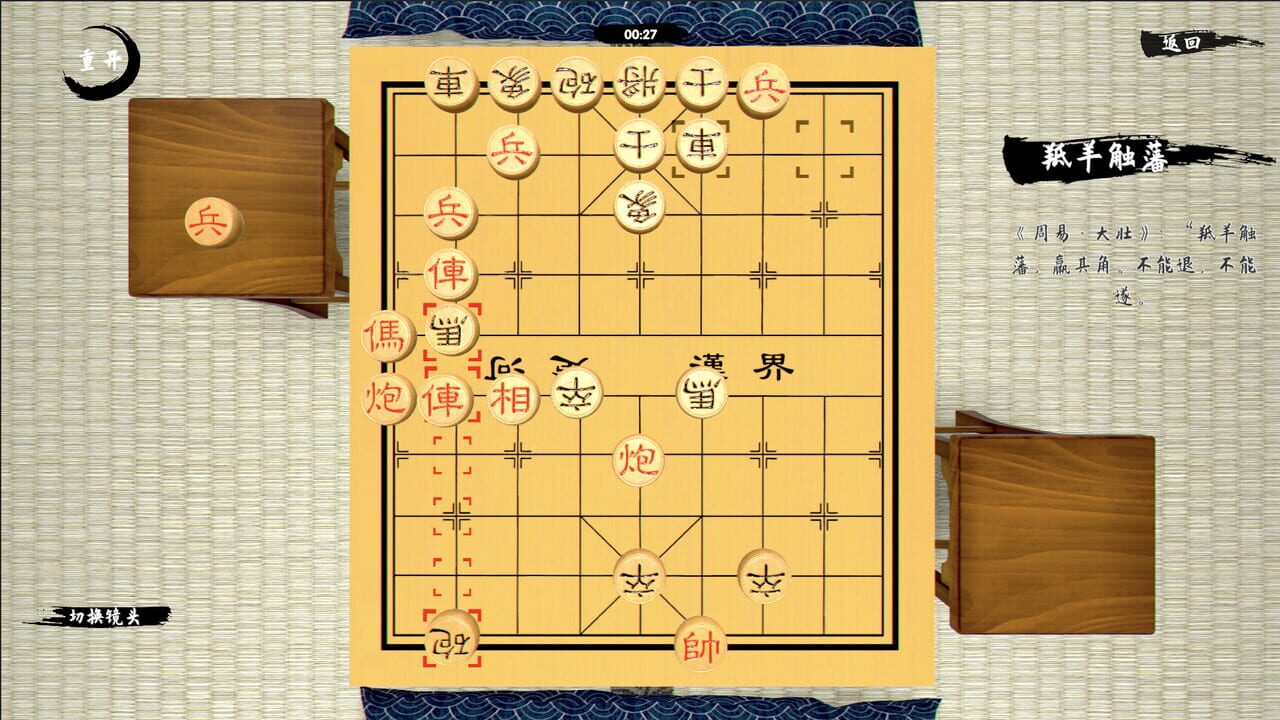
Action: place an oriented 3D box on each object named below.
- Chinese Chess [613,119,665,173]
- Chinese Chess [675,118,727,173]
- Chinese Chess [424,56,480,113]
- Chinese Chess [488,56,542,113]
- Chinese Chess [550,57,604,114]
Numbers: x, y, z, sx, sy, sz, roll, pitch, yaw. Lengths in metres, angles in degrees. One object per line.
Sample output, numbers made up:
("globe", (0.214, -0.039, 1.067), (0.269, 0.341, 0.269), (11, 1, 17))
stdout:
("Chinese Chess", (0.009, -1.563, 16.160), (0.471, 0.093, 0.320), (6, 93, 0))
("Chinese Chess", (0.462, -1.556, 16.221), (0.348, 0.146, 0.363), (-1, 83, -1))
("Chinese Chess", (-1.370, -2.014, 16.222), (0.487, 0.115, 0.327), (-3, 92, -2))
("Chinese Chess", (-0.908, -2.009, 16.215), (0.470, 0.093, 0.333), (14, 94, -2))
("Chinese Chess", (-0.450, -1.993, 16.228), (0.561, 0.108, 0.379), (1, 98, 0))
